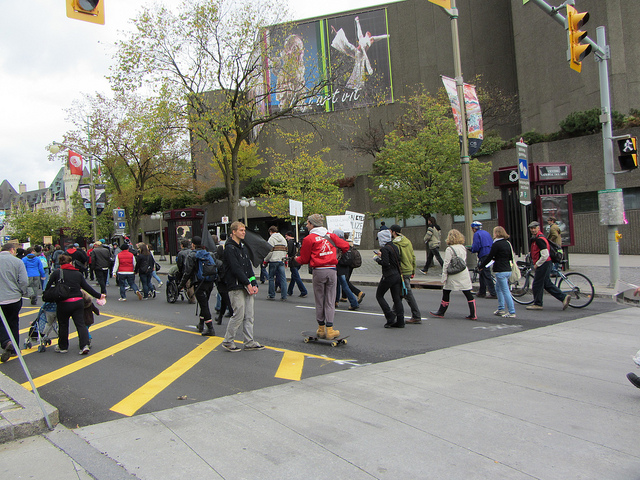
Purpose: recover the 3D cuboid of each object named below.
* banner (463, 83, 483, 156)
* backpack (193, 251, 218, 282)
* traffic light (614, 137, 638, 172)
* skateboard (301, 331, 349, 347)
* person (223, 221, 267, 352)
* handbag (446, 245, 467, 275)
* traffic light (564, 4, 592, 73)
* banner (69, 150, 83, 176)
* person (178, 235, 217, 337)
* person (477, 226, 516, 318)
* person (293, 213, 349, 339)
[{"bbox_3d":[5.065,-4.014,15.324,0.450,1.986,0.865,-4,1,25],"label":"banner"},{"bbox_3d":[-2.687,0.637,10.892,0.668,0.709,0.483,-5,-8,21],"label":"backpack"},{"bbox_3d":[8.376,-2.344,12.640,0.453,0.665,0.478,-4,1,43],"label":"traffic light"},{"bbox_3d":[0.062,1.915,9.001,0.834,0.147,0.323,-1,1,27],"label":"skateboard"},{"bbox_3d":[-1.491,0.879,8.675,0.755,2.390,0.697,-4,1,-8],"label":"person"},{"bbox_3d":[3.115,0.487,10.642,0.419,0.592,0.267,-25,-15,12],"label":"handbag"},{"bbox_3d":[6.226,-4.880,11.195,0.501,1.232,1.750,-4,1,32],"label":"traffic light"},{"bbox_3d":[-16.507,-5.222,30.927,0.613,1.851,1.250,-4,1,4],"label":"banner"},{"bbox_3d":[-2.988,1.132,11.282,0.981,2.336,1.302,-2,2,-13],"label":"person"},{"bbox_3d":[4.267,0.750,11.170,0.719,1.723,1.024,-4,1,23],"label":"person"},{"bbox_3d":[-0.003,0.719,9.226,0.691,2.268,0.838,-4,1,1],"label":"person"}]
